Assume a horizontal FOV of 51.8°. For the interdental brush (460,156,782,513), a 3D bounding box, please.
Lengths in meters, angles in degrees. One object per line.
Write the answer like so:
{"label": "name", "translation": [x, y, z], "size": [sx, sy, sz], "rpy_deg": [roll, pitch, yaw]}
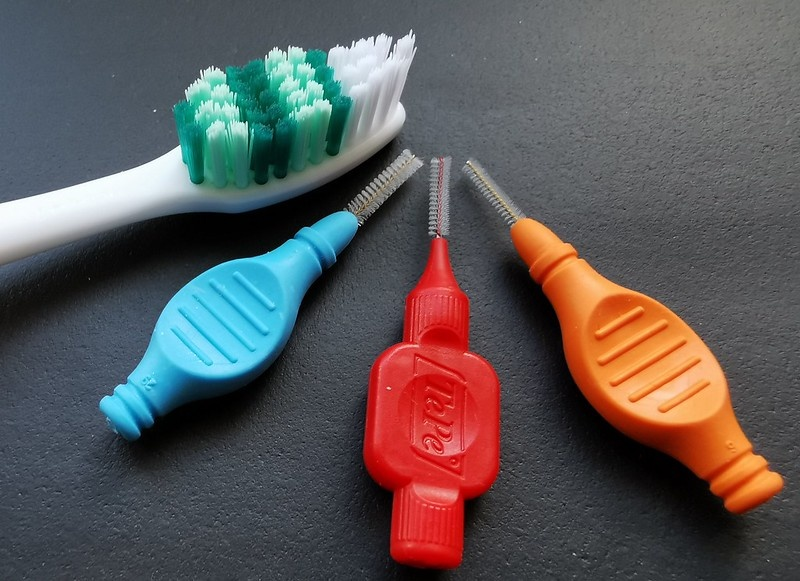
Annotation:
{"label": "interdental brush", "translation": [0.227, 0.053, 0.974], "size": [0.142, 0.068, 0.456], "rpy_deg": [-32, 68, -17]}
